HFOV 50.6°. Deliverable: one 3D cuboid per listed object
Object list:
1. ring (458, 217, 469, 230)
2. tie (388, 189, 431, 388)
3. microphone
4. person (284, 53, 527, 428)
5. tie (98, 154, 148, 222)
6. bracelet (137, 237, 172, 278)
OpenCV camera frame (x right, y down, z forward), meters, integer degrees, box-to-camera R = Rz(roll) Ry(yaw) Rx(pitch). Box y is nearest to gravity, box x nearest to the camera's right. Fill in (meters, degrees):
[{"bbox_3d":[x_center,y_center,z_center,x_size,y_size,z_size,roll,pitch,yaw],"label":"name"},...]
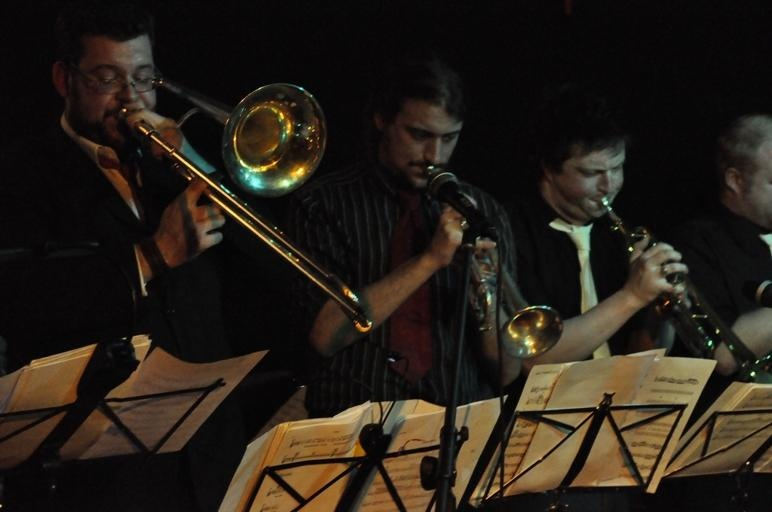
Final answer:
[{"bbox_3d":[0.309,-0.128,3.210,0.019,0.050,0.035,-8,22,27],"label":"ring"},{"bbox_3d":[0.074,0.167,3.990,0.191,0.930,0.285,-10,-14,41],"label":"tie"},{"bbox_3d":[0.264,-0.235,3.077,0.106,0.108,0.452,-32,35,-1],"label":"microphone"},{"bbox_3d":[0.045,-0.038,4.282,1.137,1.609,1.229,-1,-10,0],"label":"person"},{"bbox_3d":[-1.178,-0.329,3.689,0.112,0.418,0.089,-39,6,-17],"label":"tie"},{"bbox_3d":[-1.046,0.010,3.641,0.128,0.166,0.054,-24,1,-15],"label":"bracelet"}]
